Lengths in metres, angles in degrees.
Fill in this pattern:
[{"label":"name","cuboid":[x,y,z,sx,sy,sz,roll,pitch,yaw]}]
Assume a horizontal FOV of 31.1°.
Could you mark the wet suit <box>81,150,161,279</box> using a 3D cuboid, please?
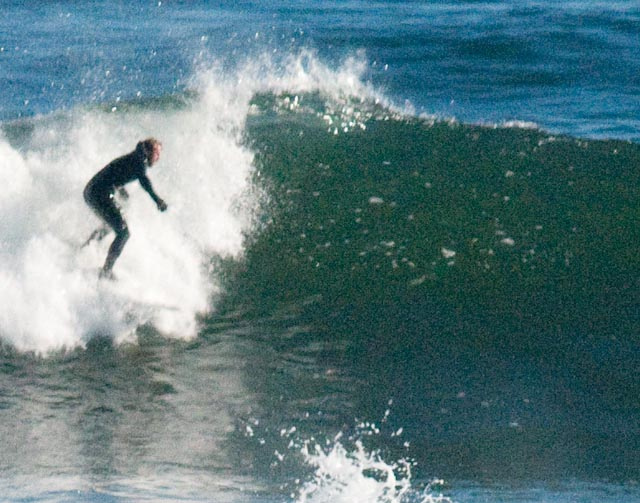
[{"label":"wet suit","cuboid":[-4.025,-0.645,23.261,1.418,2.479,1.514,5,34,-45]}]
